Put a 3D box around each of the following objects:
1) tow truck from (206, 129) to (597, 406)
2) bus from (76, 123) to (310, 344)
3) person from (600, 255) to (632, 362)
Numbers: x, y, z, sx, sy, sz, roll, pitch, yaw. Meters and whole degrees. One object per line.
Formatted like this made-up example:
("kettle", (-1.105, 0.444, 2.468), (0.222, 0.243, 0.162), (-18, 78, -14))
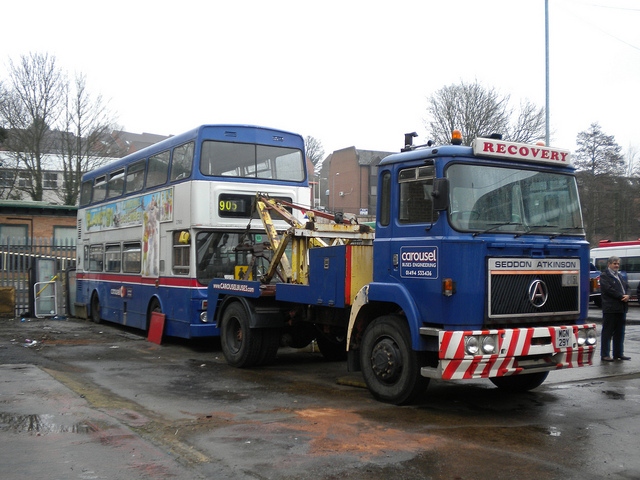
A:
("tow truck", (0.792, 0.571, 10.174), (2.823, 4.199, 7.751), (3, -3, -40))
("bus", (-4.816, 0.027, 17.429), (3.428, 5.581, 10.598), (2, -3, -38))
("person", (6.623, 1.511, 11.848), (0.604, 2.330, 0.836), (-1, -2, 31))
